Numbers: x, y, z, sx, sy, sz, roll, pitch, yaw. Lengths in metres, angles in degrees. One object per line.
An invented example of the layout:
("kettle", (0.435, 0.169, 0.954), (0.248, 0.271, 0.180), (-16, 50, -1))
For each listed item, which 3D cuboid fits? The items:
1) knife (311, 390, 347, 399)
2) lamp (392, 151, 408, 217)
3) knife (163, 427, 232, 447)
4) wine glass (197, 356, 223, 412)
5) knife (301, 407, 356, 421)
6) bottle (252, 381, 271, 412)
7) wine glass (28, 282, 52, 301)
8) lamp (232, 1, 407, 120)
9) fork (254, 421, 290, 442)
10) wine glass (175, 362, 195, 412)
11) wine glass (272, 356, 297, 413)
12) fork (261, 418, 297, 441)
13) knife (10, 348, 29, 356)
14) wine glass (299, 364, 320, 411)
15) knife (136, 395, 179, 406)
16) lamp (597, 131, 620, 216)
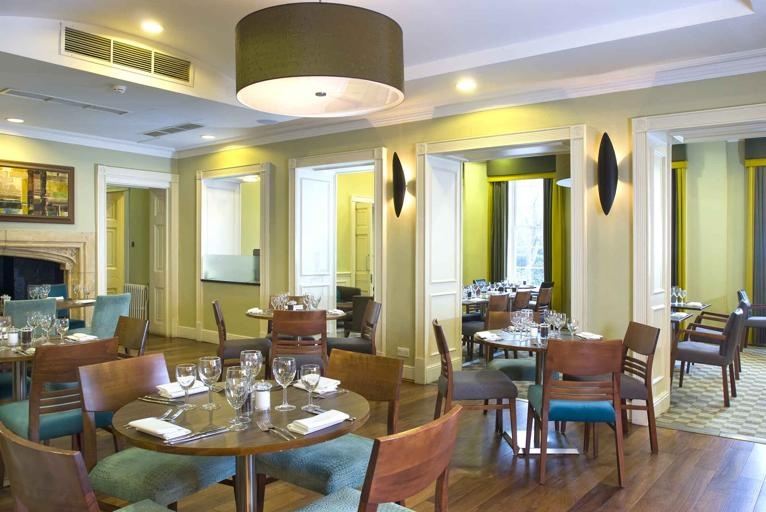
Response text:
("knife", (-0.362, 0.903, 3.509), (0.228, 0.038, 0.039), (-10, 29, -27))
("lamp", (0.146, -0.899, 6.847), (0.274, 0.818, 0.093), (-3, 7, -7))
("knife", (-1.026, 0.997, 2.982), (0.421, 0.022, 0.096), (-2, 12, -35))
("wine glass", (-1.106, 0.763, 3.423), (0.119, 0.328, 0.358), (-4, 10, -20))
("knife", (-0.331, 0.938, 3.226), (0.372, 0.034, 0.106), (6, 10, 32))
("bottle", (-0.772, 0.885, 3.414), (0.139, 0.182, 0.141), (0, 1, 0))
("wine glass", (-4.559, 0.466, 7.107), (0.123, 0.218, 0.235), (-3, -5, 43))
("lamp", (-0.357, -1.251, 3.502), (0.920, 0.332, 0.894), (6, -10, -36))
("fork", (-0.627, 0.987, 3.046), (0.268, 0.038, 0.072), (10, 8, 36))
("wine glass", (-1.237, 0.780, 3.371), (0.105, 0.290, 0.277), (-4, 10, -21))
("wine glass", (-0.637, 0.776, 3.465), (0.133, 0.305, 0.451), (-2, 10, -12))
("fork", (-0.598, 0.982, 3.048), (0.291, 0.040, 0.080), (6, 8, 43))
("knife", (-2.938, 0.773, 4.348), (0.258, 0.029, 0.070), (8, 6, 42))
("wine glass", (-0.461, 0.806, 3.412), (0.117, 0.241, 0.354), (-2, 9, -9))
("knife", (-1.446, 0.911, 3.423), (0.325, 0.027, 0.096), (3, 3, 20))
("lamp", (2.378, -0.882, 5.707), (0.213, 0.875, 0.210), (-6, 7, -23))
